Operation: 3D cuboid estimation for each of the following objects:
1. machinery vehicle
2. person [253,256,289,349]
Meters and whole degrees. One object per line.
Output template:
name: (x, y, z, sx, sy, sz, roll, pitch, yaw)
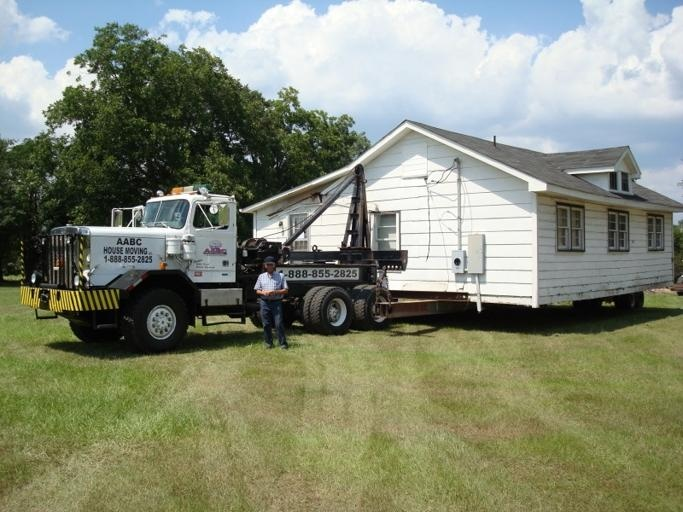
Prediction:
machinery vehicle: (-2.190, 0.586, 14.863, 9.858, 5.312, 3.791, 5, -7, -43)
person: (-1.413, 0.955, 11.756, 0.637, 1.637, 1.066, 0, 6, -8)
